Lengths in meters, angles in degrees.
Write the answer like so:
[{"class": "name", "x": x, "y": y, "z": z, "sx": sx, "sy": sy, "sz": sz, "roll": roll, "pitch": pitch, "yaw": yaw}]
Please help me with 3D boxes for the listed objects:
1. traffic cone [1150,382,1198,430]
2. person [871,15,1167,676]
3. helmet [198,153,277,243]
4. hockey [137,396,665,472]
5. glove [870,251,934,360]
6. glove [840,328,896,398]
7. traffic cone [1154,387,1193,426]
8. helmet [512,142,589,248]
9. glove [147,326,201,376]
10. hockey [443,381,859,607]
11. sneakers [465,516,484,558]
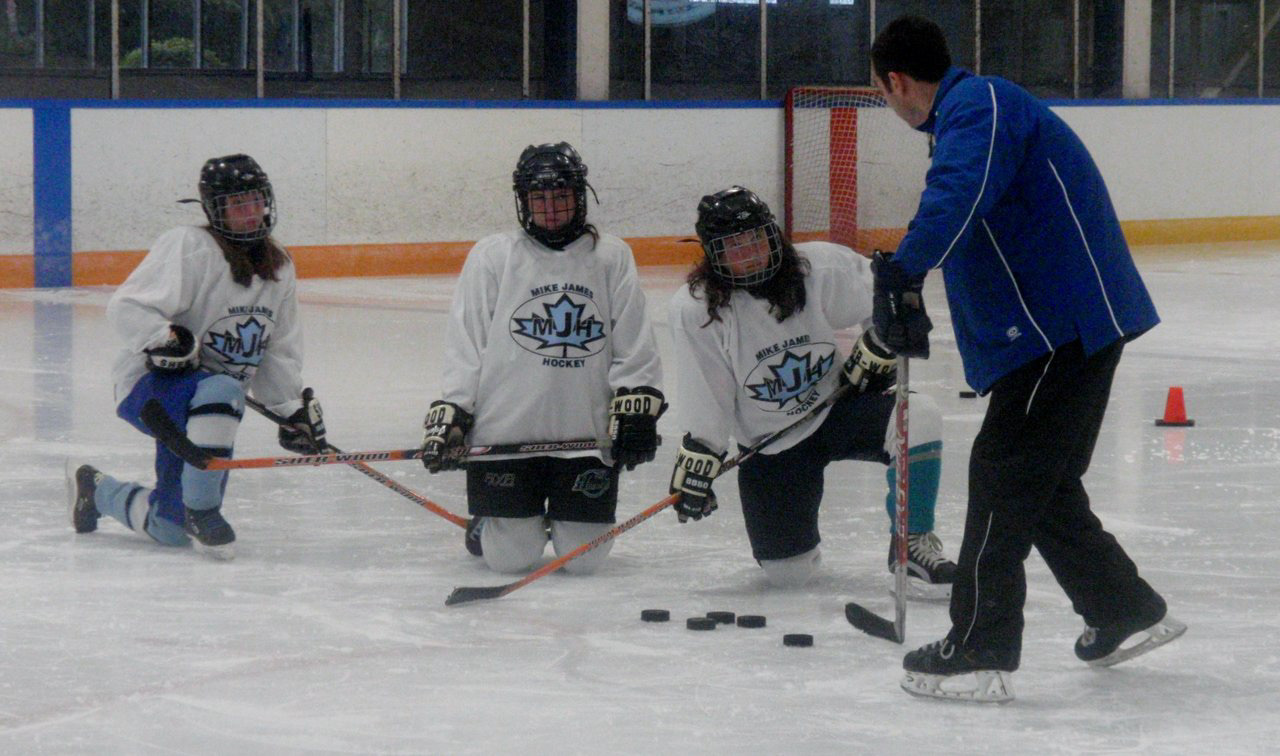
[{"class": "traffic cone", "x": 2.522, "y": 0.140, "z": 8.348, "sx": 0.257, "sy": 0.185, "sz": 0.200, "roll": 0, "pitch": 0, "yaw": 8}, {"class": "person", "x": 1.305, "y": -0.109, "z": 5.927, "sx": 1.016, "sy": 2.249, "sz": 0.468, "roll": 0, "pitch": 10, "yaw": 5}, {"class": "helmet", "x": -1.605, "y": -0.718, "z": 7.015, "sx": 0.373, "sy": 0.306, "sz": 0.391, "roll": -12, "pitch": 13, "yaw": -30}, {"class": "hockey", "x": -1.033, "y": 0.214, "z": 6.762, "sx": 2.104, "sy": 0.289, "sz": 0.090, "roll": -4, "pitch": 24, "yaw": 28}, {"class": "glove", "x": 0.891, "y": -0.254, "z": 5.970, "sx": 0.268, "sy": 0.334, "sz": 0.148, "roll": -6, "pitch": 17, "yaw": 2}, {"class": "glove", "x": 0.876, "y": -0.052, "z": 6.679, "sx": 0.220, "sy": 0.238, "sz": 0.262, "roll": 29, "pitch": 11, "yaw": 3}, {"class": "traffic cone", "x": 2.523, "y": 0.135, "z": 8.343, "sx": 0.219, "sy": 0.174, "sz": 0.213, "roll": 0, "pitch": 2, "yaw": 10}, {"class": "helmet", "x": -0.336, "y": -0.727, "z": 6.920, "sx": 0.304, "sy": 0.417, "sz": 0.271, "roll": -2, "pitch": 10, "yaw": -2}, {"class": "glove", "x": -1.821, "y": -0.112, "z": 6.879, "sx": 0.201, "sy": 0.127, "sz": 0.225, "roll": -1, "pitch": 1, "yaw": -4}, {"class": "hockey", "x": 0.046, "y": 0.495, "z": 6.672, "sx": 1.646, "sy": 0.149, "sz": 0.101, "roll": -31, "pitch": -23, "yaw": -3}, {"class": "sneakers", "x": -0.648, "y": 0.638, "z": 6.933, "sx": 0.069, "sy": 0.134, "sz": 0.110, "roll": -5, "pitch": -11, "yaw": 6}]
